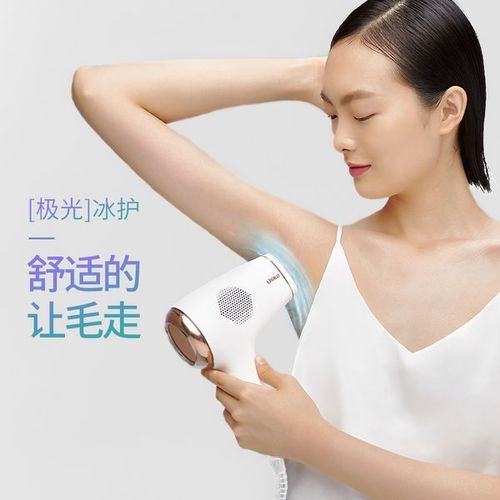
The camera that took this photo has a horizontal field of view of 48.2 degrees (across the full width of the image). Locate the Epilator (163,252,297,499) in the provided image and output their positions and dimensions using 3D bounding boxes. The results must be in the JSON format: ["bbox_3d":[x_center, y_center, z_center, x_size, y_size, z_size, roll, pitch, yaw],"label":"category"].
[{"bbox_3d":[-0.027,0.121,0.894,0.216,0.204,0.087,-5,8,-9],"label":"Epilator"}]
